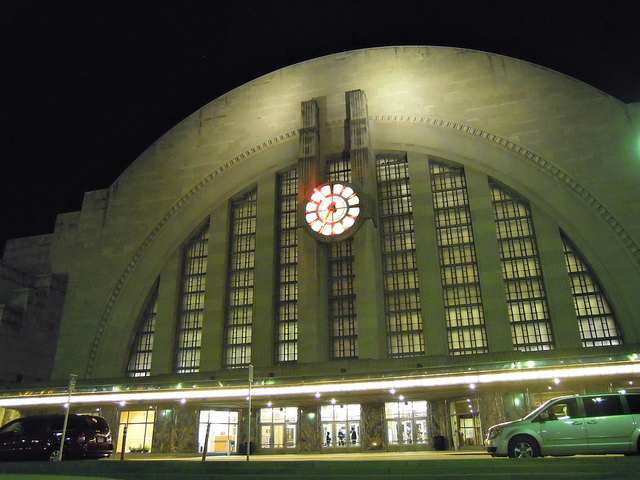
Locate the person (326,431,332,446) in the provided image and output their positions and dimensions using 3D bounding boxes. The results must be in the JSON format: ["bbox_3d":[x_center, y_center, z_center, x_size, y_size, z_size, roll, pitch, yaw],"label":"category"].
[{"bbox_3d":[0.650,15.352,38.792,0.350,0.943,0.109,-15,-29,26],"label":"person"}]

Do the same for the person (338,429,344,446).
[{"bbox_3d":[1.555,15.074,38.445,0.527,1.045,0.212,-15,-29,26],"label":"person"}]

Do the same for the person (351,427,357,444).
[{"bbox_3d":[2.567,14.967,38.300,0.347,1.115,0.109,6,-26,-14],"label":"person"}]
